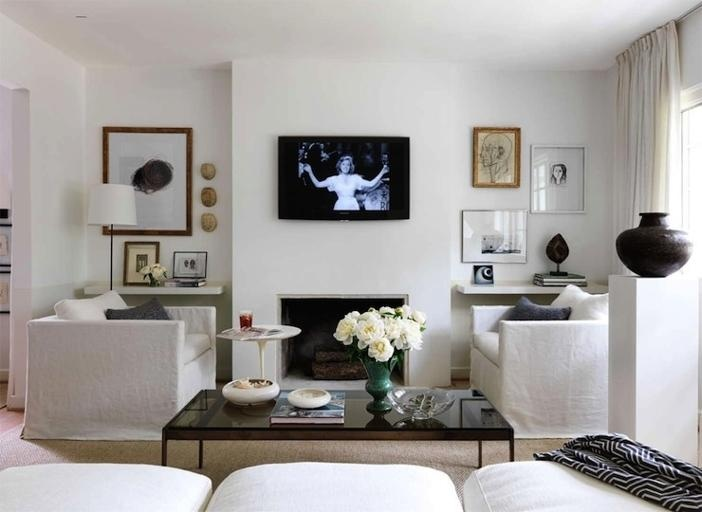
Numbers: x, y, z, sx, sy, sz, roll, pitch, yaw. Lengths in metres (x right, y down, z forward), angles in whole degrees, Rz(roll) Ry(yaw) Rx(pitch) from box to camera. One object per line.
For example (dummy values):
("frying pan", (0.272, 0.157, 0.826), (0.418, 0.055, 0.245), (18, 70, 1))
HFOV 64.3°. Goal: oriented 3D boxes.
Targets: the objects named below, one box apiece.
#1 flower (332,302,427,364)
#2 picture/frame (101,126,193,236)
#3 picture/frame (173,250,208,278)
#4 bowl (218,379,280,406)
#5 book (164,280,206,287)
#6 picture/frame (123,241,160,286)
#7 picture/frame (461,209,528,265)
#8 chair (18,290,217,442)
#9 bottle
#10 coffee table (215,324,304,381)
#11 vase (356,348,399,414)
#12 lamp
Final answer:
("flower", (0.183, 0.420, 3.468), (0.417, 0.294, 0.417), (4, -5, -43))
("picture/frame", (-2.001, -0.738, 5.420), (1.036, 1.307, 0.064), (0, 2, 0))
("picture/frame", (-1.586, 0.091, 5.489), (0.240, 0.207, 0.020), (0, -7, -3))
("bowl", (-0.642, 0.875, 3.592), (0.208, 0.085, 0.211), (1, -1, 0))
("book", (-1.556, 0.257, 5.257), (0.372, 0.056, 0.219), (-1, 3, -14))
("picture/frame", (-2.054, 0.094, 5.437), (0.414, 0.541, 0.042), (0, -5, -6))
("picture/frame", (1.445, -0.196, 5.516), (0.518, 0.454, 0.020), (1, 2, 1))
("chair", (-1.806, 0.828, 4.423), (1.220, 1.003, 0.753), (-1, 3, 0))
("bottle", (1.925, -0.034, 3.701), (0.442, 0.406, 0.417), (0, -3, -3))
("coffee table", (-0.714, 0.609, 4.244), (0.552, 0.558, 0.562), (0, 4, -12))
("vase", (0.181, 0.811, 3.594), (0.314, 0.389, 0.320), (0, -5, 4))
("lamp", (-2.246, -0.197, 5.285), (0.426, 0.986, 0.656), (-2, 3, -24))
